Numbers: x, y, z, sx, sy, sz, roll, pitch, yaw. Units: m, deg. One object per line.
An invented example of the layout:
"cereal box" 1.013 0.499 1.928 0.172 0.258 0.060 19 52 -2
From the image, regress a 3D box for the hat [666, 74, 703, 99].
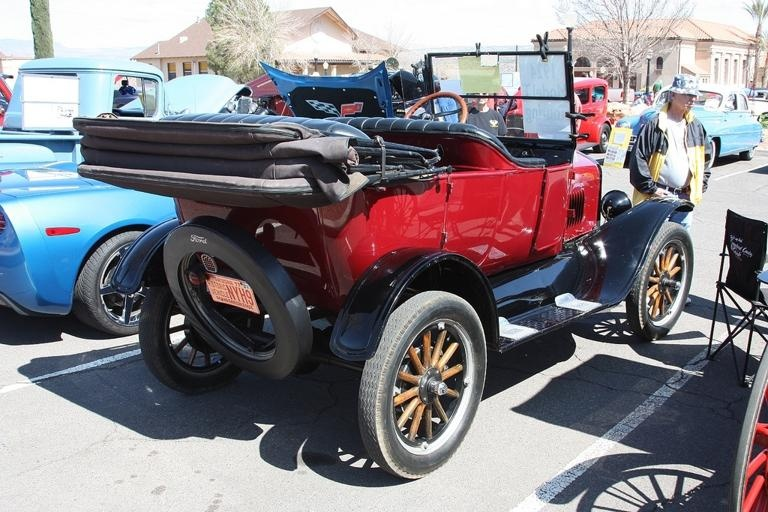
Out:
"hat" 2.917 -1.664 5.104 0.296 0.141 0.272 9 19 8

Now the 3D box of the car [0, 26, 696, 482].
"car" 0.743 -0.314 5.288 3.130 3.038 5.850 10 19 40
